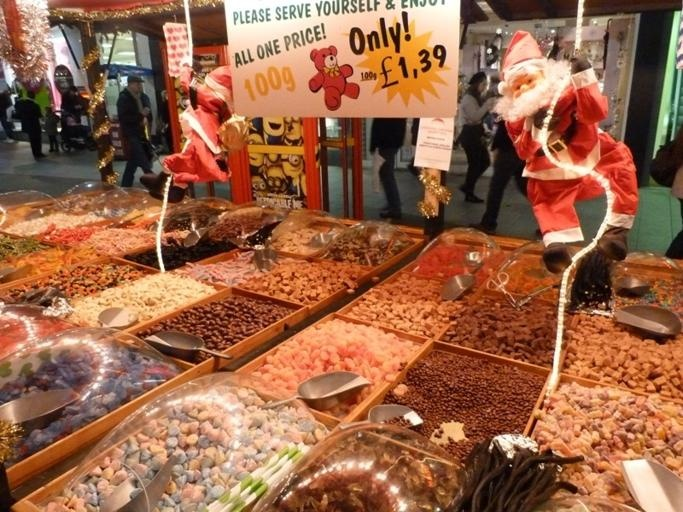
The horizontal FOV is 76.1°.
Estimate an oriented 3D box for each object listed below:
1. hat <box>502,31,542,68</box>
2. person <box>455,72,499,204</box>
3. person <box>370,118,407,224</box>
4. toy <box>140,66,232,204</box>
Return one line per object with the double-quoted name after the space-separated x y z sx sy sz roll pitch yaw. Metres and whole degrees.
0.629 -0.716 1.522 0.121 0.125 0.171 3 23 13 "hat"
0.987 -0.881 3.175 0.383 0.920 0.326 -9 50 13 "person"
0.419 -0.769 3.917 0.324 0.884 0.200 18 33 39 "person"
-0.731 -0.687 2.288 0.294 0.557 0.424 4 24 16 "toy"
